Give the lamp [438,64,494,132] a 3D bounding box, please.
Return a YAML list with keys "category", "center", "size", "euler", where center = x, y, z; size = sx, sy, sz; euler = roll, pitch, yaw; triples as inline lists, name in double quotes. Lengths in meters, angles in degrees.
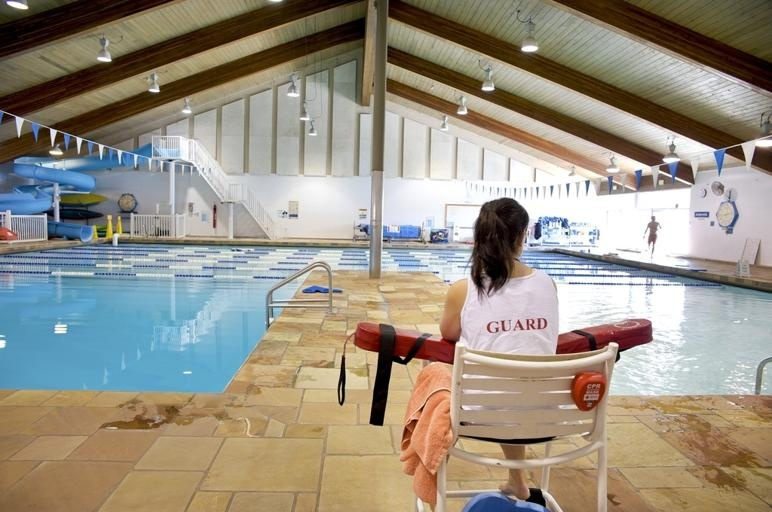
- category: "lamp"
  center: [2.542, -4.846, 15.297]
  size: [0.575, 0.997, 2.745]
  euler: [9, -19, -16]
